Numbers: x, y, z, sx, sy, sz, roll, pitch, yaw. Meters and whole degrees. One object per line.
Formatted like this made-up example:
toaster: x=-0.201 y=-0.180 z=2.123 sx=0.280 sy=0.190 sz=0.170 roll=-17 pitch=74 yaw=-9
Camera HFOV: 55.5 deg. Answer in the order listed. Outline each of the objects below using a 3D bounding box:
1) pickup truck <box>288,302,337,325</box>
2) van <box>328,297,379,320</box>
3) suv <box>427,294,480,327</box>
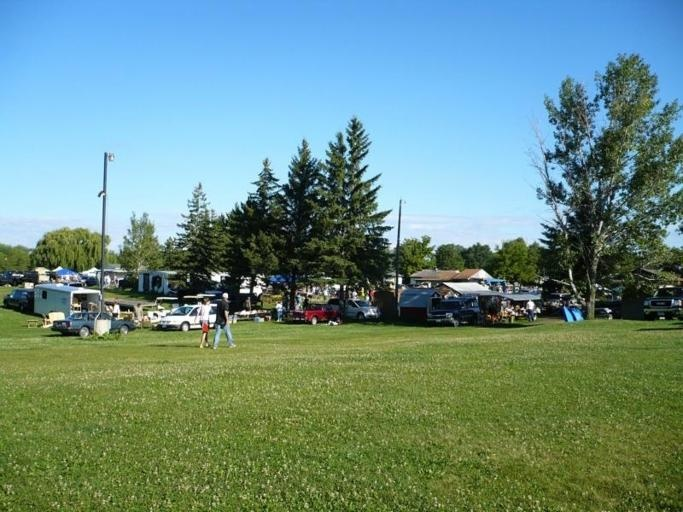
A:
pickup truck: x=-2.021 y=4.760 z=52.934 sx=1.759 sy=1.103 sz=3.106 roll=2 pitch=4 yaw=43
van: x=0.971 y=4.780 z=58.209 sx=3.898 sy=1.783 sz=2.040 roll=-3 pitch=-4 yaw=25
suv: x=8.430 y=4.041 z=47.858 sx=1.922 sy=1.731 sz=3.423 roll=-5 pitch=-9 yaw=38
